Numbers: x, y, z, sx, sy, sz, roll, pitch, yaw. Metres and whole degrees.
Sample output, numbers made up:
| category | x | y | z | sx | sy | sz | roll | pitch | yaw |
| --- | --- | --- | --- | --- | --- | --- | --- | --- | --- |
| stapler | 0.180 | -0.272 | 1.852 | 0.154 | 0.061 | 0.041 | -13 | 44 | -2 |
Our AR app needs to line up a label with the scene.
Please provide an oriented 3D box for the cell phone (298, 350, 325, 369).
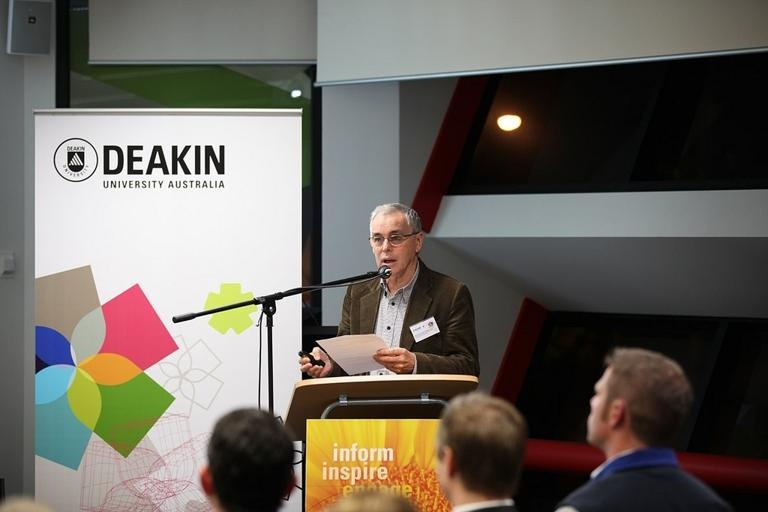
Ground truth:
| category | x | y | z | sx | sy | sz | roll | pitch | yaw |
| --- | --- | --- | --- | --- | --- | --- | --- | --- | --- |
| cell phone | -0.344 | 0.486 | 2.839 | 0.115 | 0.028 | 0.064 | 33 | 13 | 6 |

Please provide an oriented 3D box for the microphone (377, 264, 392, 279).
| category | x | y | z | sx | sy | sz | roll | pitch | yaw |
| --- | --- | --- | --- | --- | --- | --- | --- | --- | --- |
| microphone | 0.002 | 0.072 | 2.881 | 0.047 | 0.066 | 0.039 | 0 | -15 | 4 |

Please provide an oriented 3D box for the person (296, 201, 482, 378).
| category | x | y | z | sx | sy | sz | roll | pitch | yaw |
| --- | --- | --- | --- | --- | --- | --- | --- | --- | --- |
| person | 0.029 | 0.170 | 3.572 | 0.877 | 1.460 | 0.777 | -8 | -22 | 29 |
